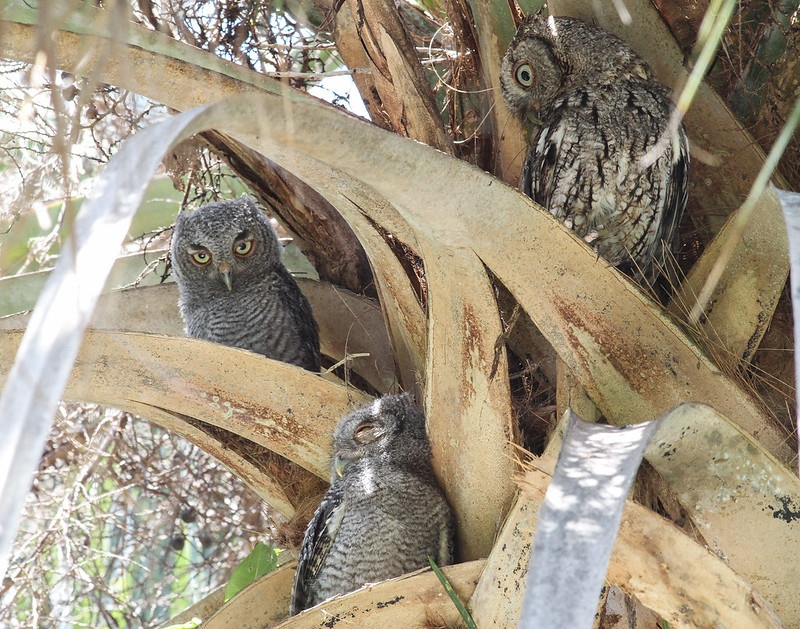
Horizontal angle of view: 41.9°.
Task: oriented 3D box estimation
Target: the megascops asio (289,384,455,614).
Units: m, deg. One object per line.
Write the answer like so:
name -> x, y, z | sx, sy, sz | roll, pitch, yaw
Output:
megascops asio -> -0.071, 0.523, 2.927 | 0.341, 0.535, 0.794 | 1, 29, 12

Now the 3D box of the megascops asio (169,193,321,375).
megascops asio -> -0.569, -0.109, 3.814 | 0.319, 0.700, 0.561 | -23, -14, 15

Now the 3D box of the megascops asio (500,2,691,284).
megascops asio -> 0.623, -0.360, 3.606 | 0.712, 1.127, 0.679 | 0, -31, 16
